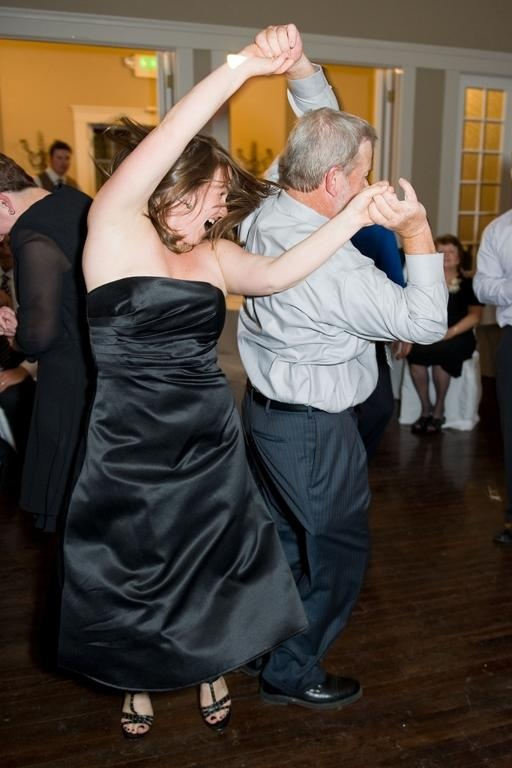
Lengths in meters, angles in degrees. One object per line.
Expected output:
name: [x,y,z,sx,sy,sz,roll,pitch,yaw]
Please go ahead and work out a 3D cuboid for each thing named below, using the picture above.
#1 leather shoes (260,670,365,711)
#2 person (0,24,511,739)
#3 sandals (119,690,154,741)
leather shoes: [0.154,0.829,1.738,0.283,0.111,0.100,-2,18,2]
person: [0.089,0.036,1.371,0.611,1.659,0.916,3,10,21]
sandals: [-0.302,0.835,1.596,0.050,0.034,0.131,1,21,-16]
